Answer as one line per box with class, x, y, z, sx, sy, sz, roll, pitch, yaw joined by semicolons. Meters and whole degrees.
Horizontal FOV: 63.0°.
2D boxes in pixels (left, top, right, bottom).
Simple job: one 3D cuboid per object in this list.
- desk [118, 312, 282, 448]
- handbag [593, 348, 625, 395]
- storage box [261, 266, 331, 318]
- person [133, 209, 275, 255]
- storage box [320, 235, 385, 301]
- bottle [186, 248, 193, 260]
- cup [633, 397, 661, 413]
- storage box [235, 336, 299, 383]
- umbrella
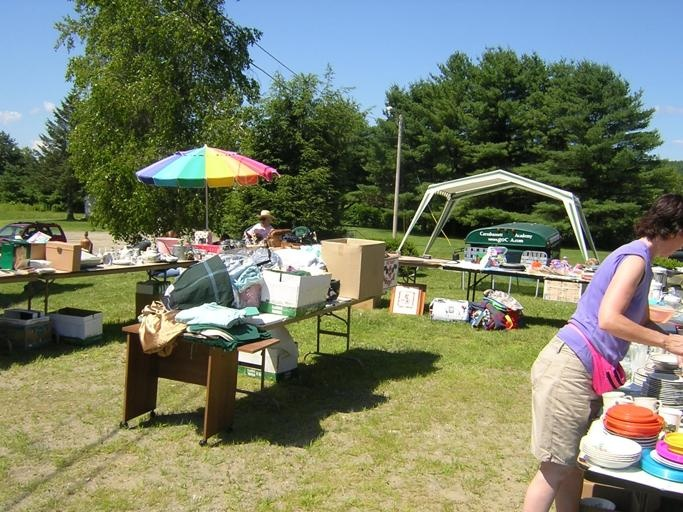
desk;-1.475;1.188;5.398;1.298;1.046;0.557;6;10;21
handbag;1.705;0.728;3.562;0.196;0.342;0.253;-8;9;25
storage box;-0.493;0.365;5.993;0.506;0.401;0.861;8;3;15
person;-2.019;-0.389;10.802;2.025;0.745;1.206;1;5;11
storage box;0.110;0.136;7.024;0.791;0.634;0.798;7;9;14
bottle;-2.641;-0.036;9.676;0.134;0.156;0.142;7;-6;-38
cup;2.073;0.981;3.755;0.146;0.102;0.112;0;-2;27
storage box;-0.977;1.277;6.911;0.667;0.582;0.672;2;4;35
umbrella;-2.503;-1.404;10.206;1.642;1.046;1.644;-4;12;-8
